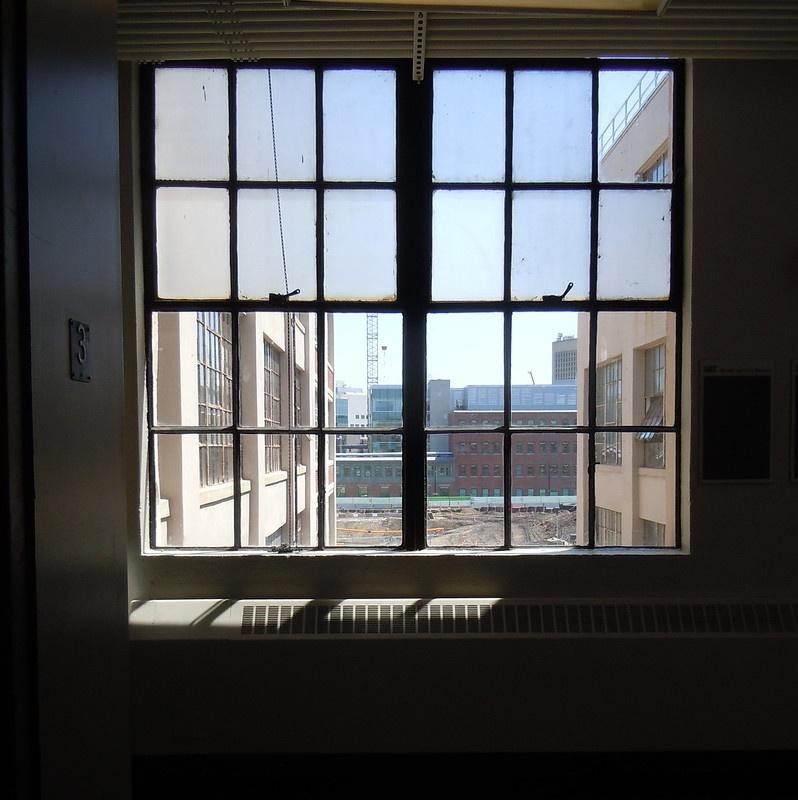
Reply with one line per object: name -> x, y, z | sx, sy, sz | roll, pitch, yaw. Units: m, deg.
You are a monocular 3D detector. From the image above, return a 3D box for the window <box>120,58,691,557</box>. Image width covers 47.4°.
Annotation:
window -> 0.050, -0.425, 3.693 | 1.508, 1.841, 0.086 | 0, -1, -6

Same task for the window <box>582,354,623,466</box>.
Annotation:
window -> 0.991, 0.034, 4.254 | 0.019, 0.473, 0.345 | 2, 9, 27

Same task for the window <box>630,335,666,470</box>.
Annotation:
window -> 1.290, 0.008, 4.664 | 0.027, 0.605, 0.418 | 2, 3, 33
